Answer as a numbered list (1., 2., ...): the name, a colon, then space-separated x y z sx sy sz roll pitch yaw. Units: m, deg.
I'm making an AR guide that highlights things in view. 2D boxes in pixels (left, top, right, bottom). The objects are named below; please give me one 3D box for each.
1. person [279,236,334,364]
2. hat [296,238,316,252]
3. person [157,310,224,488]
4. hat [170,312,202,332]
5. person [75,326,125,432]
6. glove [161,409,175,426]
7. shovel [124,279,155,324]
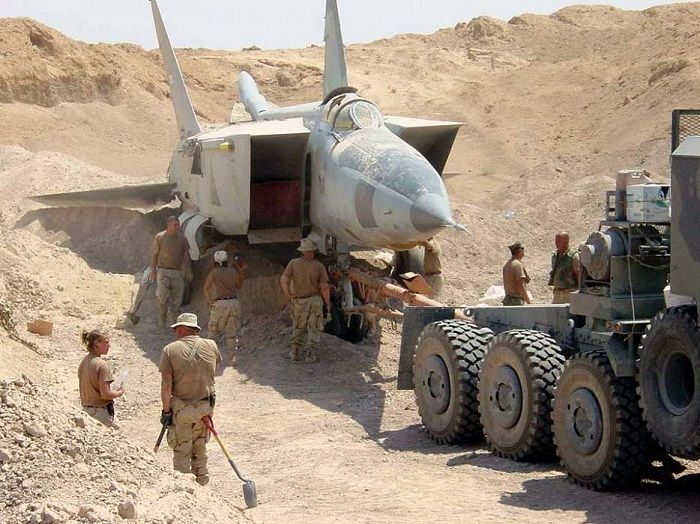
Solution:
1. person: -1.026 0.841 25.987 1.066 2.796 0.925 -1 4 -3
2. hat: -0.988 -0.392 25.607 0.352 0.289 0.293 2 4 32
3. person: -2.948 2.536 20.807 1.024 3.177 0.558 -1 4 -11
4. hat: -3.009 1.091 21.108 0.479 0.312 0.577 1 -11 -1
5. person: -4.702 2.176 21.317 0.820 1.822 0.533 -1 4 -4
6. glove: -3.313 2.846 20.732 0.197 0.302 0.274 2 9 -8
7. shovel: -5.344 0.981 28.509 0.258 1.104 0.534 -11 -37 34
